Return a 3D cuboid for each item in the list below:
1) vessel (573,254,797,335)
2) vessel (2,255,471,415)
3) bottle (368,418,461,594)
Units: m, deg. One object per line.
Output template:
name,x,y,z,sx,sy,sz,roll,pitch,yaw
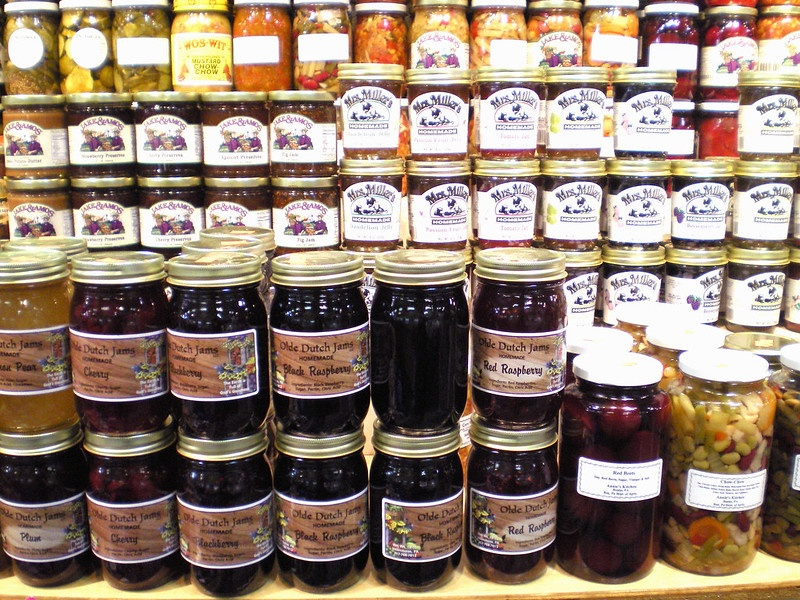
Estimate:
vessel,0.889,-0.042,2.310,0.358,0.345,0.349,0,4,2
vessel,-0.575,0.055,1.620,0.577,0.321,0.171,-2,13,8
bottle,0.031,0.447,1.654,0.212,0.361,0.108,-3,13,3
